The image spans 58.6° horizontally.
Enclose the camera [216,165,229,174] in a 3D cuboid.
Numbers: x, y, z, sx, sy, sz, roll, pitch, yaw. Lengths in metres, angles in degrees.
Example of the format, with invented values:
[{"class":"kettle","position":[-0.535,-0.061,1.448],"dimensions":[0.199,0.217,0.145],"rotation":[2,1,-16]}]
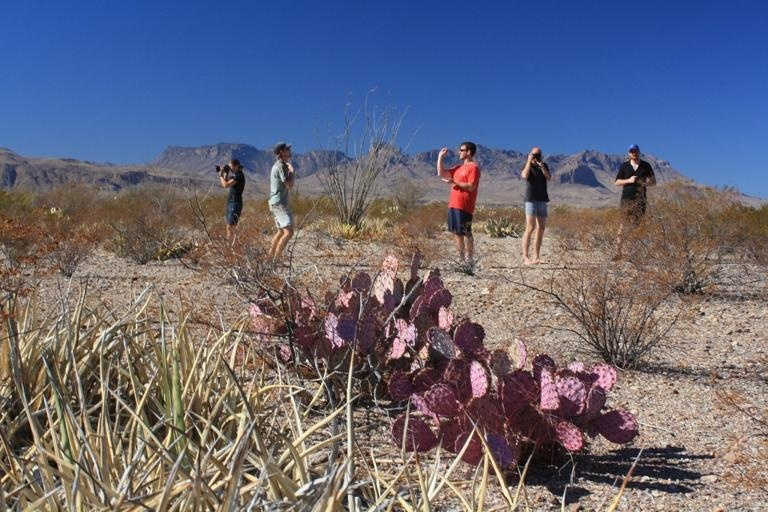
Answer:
[{"class":"camera","position":[-2.375,-1.269,10.081],"dimensions":[0.185,0.080,0.143],"rotation":[-1,9,-24]}]

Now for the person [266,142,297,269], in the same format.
[{"class":"person","position":[-1.292,-0.732,8.702],"dimensions":[0.322,1.369,0.945],"rotation":[4,6,-10]}]
